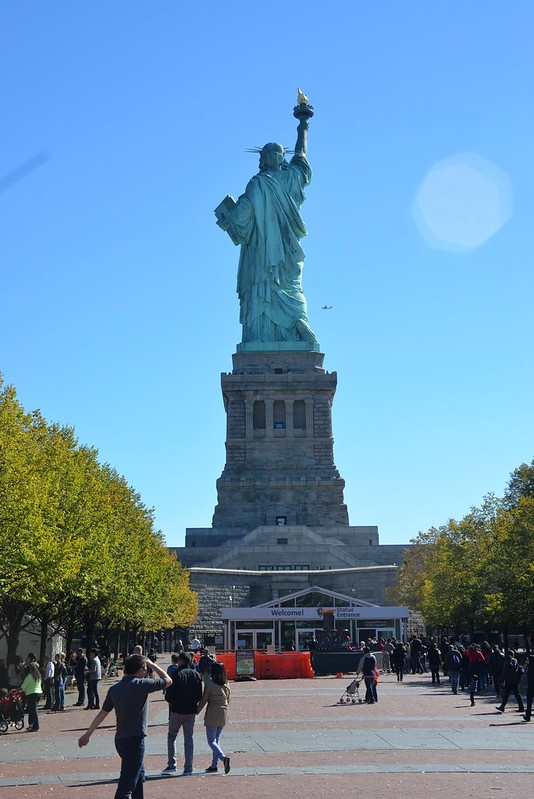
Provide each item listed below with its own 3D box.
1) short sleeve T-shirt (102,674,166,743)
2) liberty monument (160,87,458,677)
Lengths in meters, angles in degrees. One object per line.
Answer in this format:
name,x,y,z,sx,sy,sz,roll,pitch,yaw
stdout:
short sleeve T-shirt,-1.326,3.052,11.058,0.723,0.597,0.250,-7,-8,15
liberty monument,1.025,-1.898,92.842,29.908,44.805,29.820,-2,-4,25
